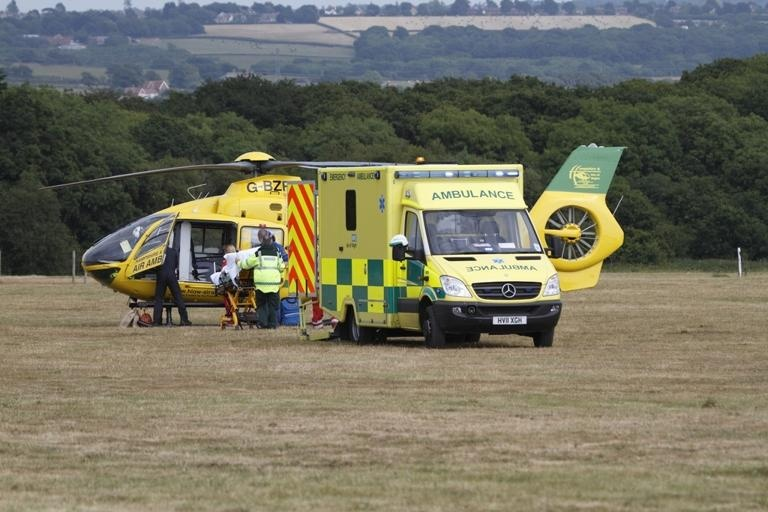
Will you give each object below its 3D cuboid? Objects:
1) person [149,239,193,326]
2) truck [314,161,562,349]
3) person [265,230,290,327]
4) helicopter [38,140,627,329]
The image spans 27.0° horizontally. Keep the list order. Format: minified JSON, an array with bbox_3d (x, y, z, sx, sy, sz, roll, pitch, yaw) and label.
[{"bbox_3d":[-7.174,0.995,53.495,1.192,2.648,0.825,-2,5,-14],"label":"person"},{"bbox_3d":[1.428,0.082,48.160,4.592,5.467,13.724,1,-1,-21],"label":"truck"},{"bbox_3d":[-3.448,0.718,52.221,0.993,3.118,0.954,1,0,-6],"label":"person"},{"bbox_3d":[-3.017,-0.667,59.305,28.233,8.634,7.953,0,-1,4],"label":"helicopter"}]
